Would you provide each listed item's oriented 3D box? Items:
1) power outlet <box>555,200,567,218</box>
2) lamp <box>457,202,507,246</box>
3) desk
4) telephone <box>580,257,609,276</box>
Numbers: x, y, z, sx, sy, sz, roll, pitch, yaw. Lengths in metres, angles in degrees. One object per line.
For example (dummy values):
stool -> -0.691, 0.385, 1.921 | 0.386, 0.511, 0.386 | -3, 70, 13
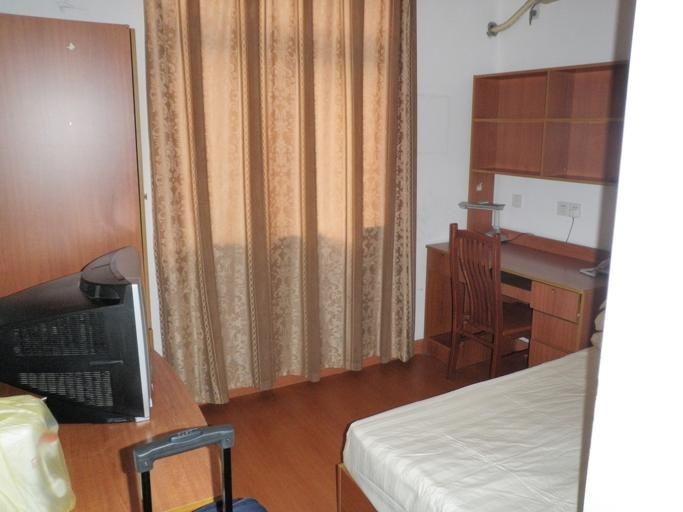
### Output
power outlet -> 1.499, -0.323, 3.607 | 0.016, 0.119, 0.119 | -6, 7, -23
lamp -> 1.020, -0.244, 3.917 | 0.367, 0.375, 0.314 | 1, 8, 12
desk -> 1.032, 0.310, 3.374 | 0.592, 0.995, 0.525 | -11, 17, -33
telephone -> 1.505, 0.069, 3.112 | 0.176, 0.070, 0.095 | -8, 17, -11
